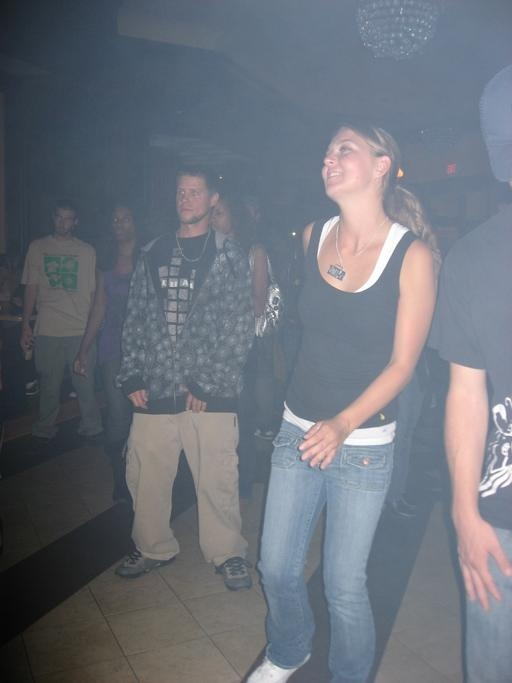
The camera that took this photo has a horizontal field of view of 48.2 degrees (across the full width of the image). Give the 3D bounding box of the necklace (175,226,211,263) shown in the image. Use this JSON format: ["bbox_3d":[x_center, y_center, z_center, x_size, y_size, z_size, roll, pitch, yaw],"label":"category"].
[{"bbox_3d":[-0.257,-0.375,2.312,0.138,0.123,0.067,1,6,-3],"label":"necklace"}]

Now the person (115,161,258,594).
[{"bbox_3d":[-0.283,0.155,2.317,0.565,1.654,0.280,1,6,-1],"label":"person"}]

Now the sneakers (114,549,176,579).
[{"bbox_3d":[-0.469,0.912,2.424,0.231,0.121,0.083,3,16,-29],"label":"sneakers"}]

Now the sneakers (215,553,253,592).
[{"bbox_3d":[-0.076,0.925,2.306,0.075,0.072,0.155,-1,4,-17],"label":"sneakers"}]

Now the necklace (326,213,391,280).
[{"bbox_3d":[0.278,-0.245,1.508,0.075,0.138,0.132,-18,35,-35],"label":"necklace"}]
